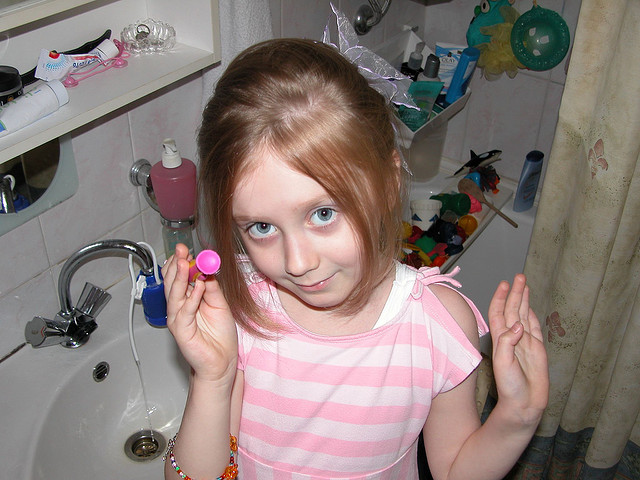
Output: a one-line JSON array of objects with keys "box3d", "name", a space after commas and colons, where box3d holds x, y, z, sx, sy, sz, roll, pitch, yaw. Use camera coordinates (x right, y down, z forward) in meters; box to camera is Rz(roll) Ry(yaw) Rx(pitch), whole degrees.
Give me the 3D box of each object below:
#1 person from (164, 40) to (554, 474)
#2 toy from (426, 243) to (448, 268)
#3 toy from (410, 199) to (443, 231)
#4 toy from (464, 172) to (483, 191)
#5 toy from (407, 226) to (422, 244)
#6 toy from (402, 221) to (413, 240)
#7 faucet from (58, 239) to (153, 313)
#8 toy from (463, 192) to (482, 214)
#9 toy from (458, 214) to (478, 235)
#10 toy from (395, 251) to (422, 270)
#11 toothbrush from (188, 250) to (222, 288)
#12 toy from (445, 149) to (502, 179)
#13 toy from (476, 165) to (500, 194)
[{"box3d": [0.079, 0.081, 0.842, 0.537, 0.777, 0.254, -2, 7, -13], "name": "person"}, {"box3d": [0.375, 0.056, 1.581, 0.058, 0.082, 0.032, 33, 9, 38], "name": "toy"}, {"box3d": [0.361, -0.086, 1.717, 0.097, 0.088, 0.102, 1, 2, -14], "name": "toy"}, {"box3d": [0.579, -0.233, 1.908, 0.051, 0.073, 0.068, 29, 42, 36], "name": "toy"}, {"box3d": [0.317, -0.018, 1.665, 0.041, 0.059, 0.049, 23, -23, -22], "name": "toy"}, {"box3d": [0.286, -0.032, 1.643, 0.026, 0.052, 0.035, 0, 7, 1], "name": "toy"}, {"box3d": [-0.483, 0.081, 1.122, 0.203, 0.173, 0.125, -3, 7, -23], "name": "faucet"}, {"box3d": [0.536, -0.131, 1.788, 0.059, 0.076, 0.055, 9, -5, -14], "name": "toy"}, {"box3d": [0.501, -0.056, 1.696, 0.049, 0.069, 0.035, 10, -29, 7], "name": "toy"}, {"box3d": [0.223, 0.051, 1.267, 0.054, 0.020, 0.036, 28, 43, -17], "name": "toy"}, {"box3d": [-0.172, 0.044, 0.741, 0.028, 0.032, 0.084, 22, -19, -17], "name": "toothbrush"}, {"box3d": [0.611, -0.309, 2.026, 0.225, 0.108, 0.173, -1, 33, 0], "name": "toy"}, {"box3d": [0.629, -0.232, 1.869, 0.069, 0.103, 0.038, -2, -6, 10], "name": "toy"}]
